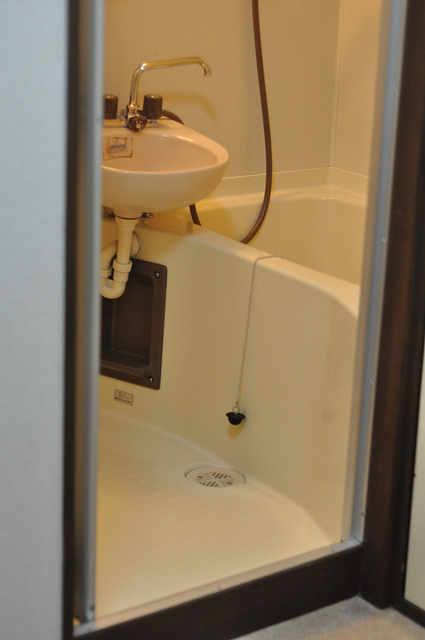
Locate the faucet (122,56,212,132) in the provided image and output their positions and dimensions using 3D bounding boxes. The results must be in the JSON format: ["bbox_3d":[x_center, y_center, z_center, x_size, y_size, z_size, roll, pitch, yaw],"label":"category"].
[{"bbox_3d":[-0.116,-0.553,1.449,0.225,0.172,0.097,0,29,-1],"label":"faucet"}]

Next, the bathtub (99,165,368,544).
[{"bbox_3d":[0.053,0.058,1.628,0.659,0.414,1.059,-11,33,-21],"label":"bathtub"}]
